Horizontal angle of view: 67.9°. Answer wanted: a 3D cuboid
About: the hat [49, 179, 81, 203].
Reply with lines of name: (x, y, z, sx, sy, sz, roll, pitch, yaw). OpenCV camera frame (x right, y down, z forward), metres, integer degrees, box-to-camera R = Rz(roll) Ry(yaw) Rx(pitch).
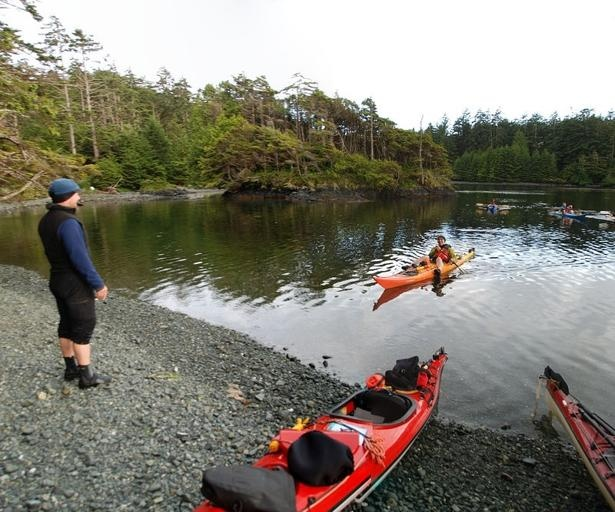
hat: (-4.791, -1.308, 8.939, 0.599, 0.399, 0.609, 2, 14, 16)

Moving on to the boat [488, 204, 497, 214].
boat: (18.148, -4.750, 45.329, 0.799, 0.454, 1.060, -3, 36, 29)

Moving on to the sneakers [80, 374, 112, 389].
sneakers: (-4.543, 2.660, 9.817, 0.266, 0.175, 0.530, 27, 15, 31)
